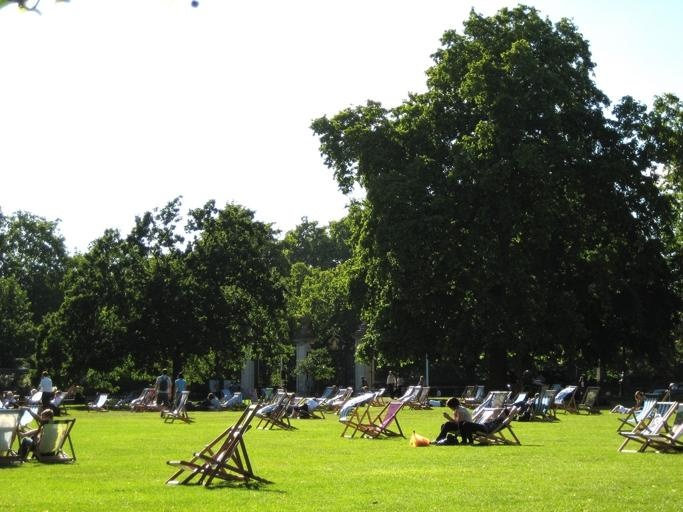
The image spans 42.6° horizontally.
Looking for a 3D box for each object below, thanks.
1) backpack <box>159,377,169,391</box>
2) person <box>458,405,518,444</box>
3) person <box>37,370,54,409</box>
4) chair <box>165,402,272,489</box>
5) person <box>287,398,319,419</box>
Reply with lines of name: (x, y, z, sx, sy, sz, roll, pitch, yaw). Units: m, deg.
backpack: (-8.726, 6.301, 43.289, 0.524, 0.755, 0.377, 1, -9, -8)
person: (3.975, 4.659, 24.082, 1.239, 0.957, 0.991, -1, -8, 0)
person: (-12.094, 5.581, 35.918, 0.456, 1.767, 0.469, 3, 4, 7)
chair: (-2.511, 3.934, 18.111, 1.961, 2.072, 1.423, 5, -14, -25)
person: (-1.576, 6.362, 36.512, 0.527, 0.824, 1.683, 2, -4, -18)
